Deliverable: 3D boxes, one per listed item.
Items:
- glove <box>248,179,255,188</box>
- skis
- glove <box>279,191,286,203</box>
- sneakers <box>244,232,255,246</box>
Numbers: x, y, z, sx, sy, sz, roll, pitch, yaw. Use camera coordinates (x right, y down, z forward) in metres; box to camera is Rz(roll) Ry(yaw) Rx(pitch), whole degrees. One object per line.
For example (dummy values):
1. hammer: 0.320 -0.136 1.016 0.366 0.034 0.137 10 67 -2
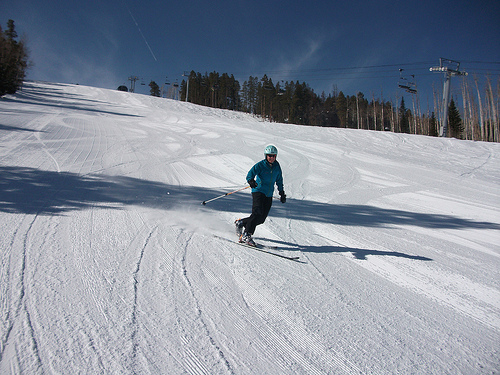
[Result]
1. glove: 0.059 -0.069 7.588 0.183 0.192 0.164 4 8 4
2. skis: 0.069 1.162 7.329 1.504 0.125 0.164 14 -9 25
3. glove: 0.701 0.220 7.886 0.102 0.228 0.183 -6 -10 32
4. sneakers: -0.028 1.055 7.411 0.352 0.158 0.125 24 -19 43
